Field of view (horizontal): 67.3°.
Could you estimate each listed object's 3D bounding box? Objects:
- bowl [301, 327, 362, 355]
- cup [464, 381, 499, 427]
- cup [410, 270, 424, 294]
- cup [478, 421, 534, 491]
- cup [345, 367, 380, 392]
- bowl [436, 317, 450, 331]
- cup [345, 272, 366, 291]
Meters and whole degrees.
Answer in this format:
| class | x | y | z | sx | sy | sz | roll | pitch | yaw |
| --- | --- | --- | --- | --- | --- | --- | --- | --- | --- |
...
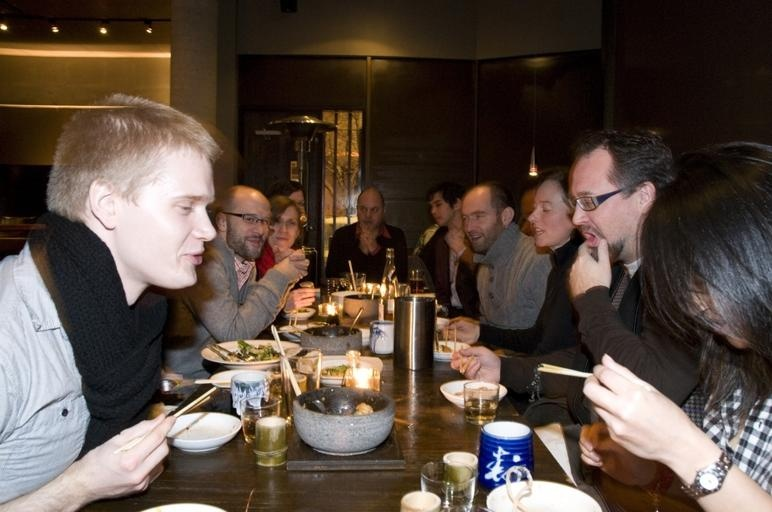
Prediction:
| class | x | y | z | sx | sy | sz | roll | pitch | yaw |
| --- | --- | --- | --- | --- | --- | --- | --- | --- | --- |
| bowl | -0.246 | 0.374 | 2.623 | 0.163 | 0.063 | 0.172 | 1 | -4 | 0 |
| cup | 0.337 | 0.541 | 2.105 | 0.135 | 0.107 | 0.121 | -3 | -2 | 37 |
| cup | 0.209 | 0.179 | 3.973 | 0.099 | 0.145 | 0.187 | 0 | 10 | 2 |
| cup | 0.359 | 0.607 | 1.789 | 0.152 | 0.143 | 0.203 | -1 | -3 | 25 |
| cup | -0.095 | 0.465 | 2.211 | 0.099 | 0.058 | 0.096 | 1 | -3 | 0 |
| bowl | 0.345 | 0.399 | 3.481 | 0.107 | 0.073 | 0.103 | 1 | -4 | 0 |
| cup | -0.235 | 0.198 | 4.487 | 0.139 | 0.142 | 0.141 | 0 | -4 | 0 |
